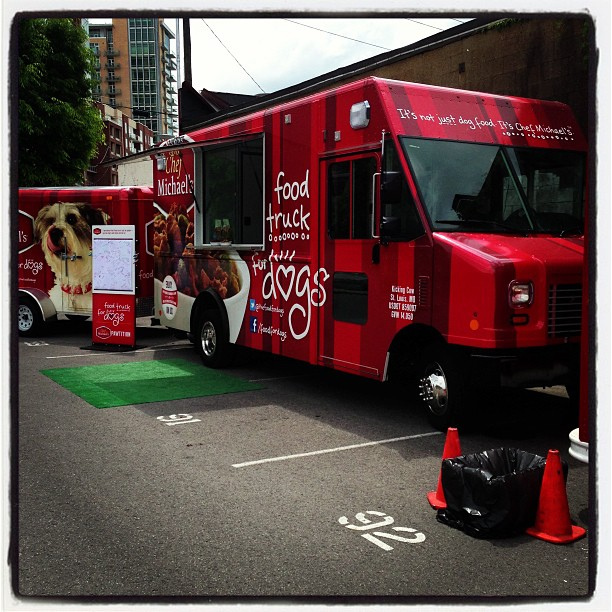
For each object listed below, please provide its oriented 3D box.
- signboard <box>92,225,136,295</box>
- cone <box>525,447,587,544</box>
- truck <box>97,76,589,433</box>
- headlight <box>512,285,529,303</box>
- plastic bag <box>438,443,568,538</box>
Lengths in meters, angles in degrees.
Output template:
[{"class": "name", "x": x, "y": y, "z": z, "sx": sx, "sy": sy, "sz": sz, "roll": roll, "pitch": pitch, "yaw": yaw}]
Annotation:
[{"class": "signboard", "x": -3.613, "y": -0.855, "z": 11.479, "sx": 0.986, "sy": 1.827, "sz": 0.125, "roll": -2, "pitch": -6, "yaw": 16}, {"class": "cone", "x": 1.617, "y": 1.187, "z": 3.880, "sx": 0.384, "sy": 0.585, "sz": 0.233, "roll": -1, "pitch": 4, "yaw": -15}, {"class": "truck", "x": 0.134, "y": -0.803, "z": 8.582, "sx": 2.651, "sy": 3.738, "sz": 7.739, "roll": -4, "pitch": 6, "yaw": -40}, {"class": "headlight", "x": 1.829, "y": -0.122, "z": 5.248, "sx": 0.130, "sy": 0.164, "sz": 0.136, "roll": 0, "pitch": 4, "yaw": -7}, {"class": "plastic bag", "x": 1.294, "y": 1.181, "z": 4.015, "sx": 0.542, "sy": 0.324, "sz": 0.564, "roll": -4, "pitch": 4, "yaw": -34}]
